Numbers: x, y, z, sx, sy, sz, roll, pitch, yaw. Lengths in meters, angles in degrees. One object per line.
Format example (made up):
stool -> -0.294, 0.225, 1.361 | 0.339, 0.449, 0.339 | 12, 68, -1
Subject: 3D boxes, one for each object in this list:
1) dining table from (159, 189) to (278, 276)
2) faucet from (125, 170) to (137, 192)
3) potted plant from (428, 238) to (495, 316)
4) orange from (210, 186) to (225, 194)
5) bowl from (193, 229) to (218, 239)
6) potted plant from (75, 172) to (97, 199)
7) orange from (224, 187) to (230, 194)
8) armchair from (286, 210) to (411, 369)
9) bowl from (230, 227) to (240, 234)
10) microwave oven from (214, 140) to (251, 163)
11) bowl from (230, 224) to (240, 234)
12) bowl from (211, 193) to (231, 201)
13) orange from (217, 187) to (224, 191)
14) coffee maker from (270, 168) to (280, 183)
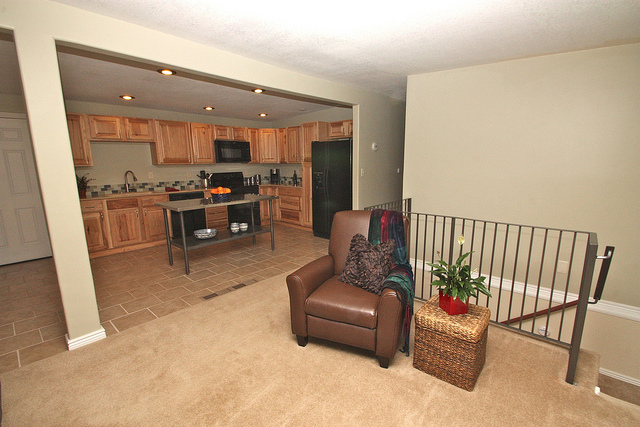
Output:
dining table -> -1.666, 0.249, 6.717 | 1.763, 1.006, 0.930 | -13, 17, -43
faucet -> -3.580, -0.615, 7.497 | 0.088, 0.404, 0.252 | 2, 12, 20
potted plant -> 1.412, 0.721, 4.213 | 0.649, 0.642, 0.583 | 2, 6, 0
orange -> -1.658, -0.363, 6.432 | 0.185, 0.090, 0.204 | -6, 10, -27
bowl -> -1.886, 0.332, 6.538 | 0.338, 0.096, 0.420 | -1, 9, 1
potted plant -> -4.050, -0.499, 6.937 | 0.291, 0.418, 0.470 | -7, 11, -27
orange -> -1.521, -0.374, 6.472 | 0.074, 0.079, 0.070 | 1, 13, 7
armchair -> 0.374, 0.818, 4.465 | 1.180, 1.553, 0.897 | 4, 12, 29
bowl -> -1.456, 0.289, 6.802 | 0.108, 0.075, 0.112 | 0, 0, 0
microwave oven -> -1.856, -1.305, 8.380 | 0.461, 0.534, 0.866 | 7, 11, 39
bowl -> -1.450, 0.268, 6.796 | 0.161, 0.148, 0.147 | 0, 5, 0
bowl -> -1.572, -0.281, 6.513 | 0.209, 0.134, 0.371 | 3, 10, 25
orange -> -1.617, -0.396, 6.459 | 0.085, 0.043, 0.080 | 6, 10, 1
coffee maker -> -1.082, -0.902, 9.526 | 0.221, 0.332, 0.169 | -3, 11, -5
